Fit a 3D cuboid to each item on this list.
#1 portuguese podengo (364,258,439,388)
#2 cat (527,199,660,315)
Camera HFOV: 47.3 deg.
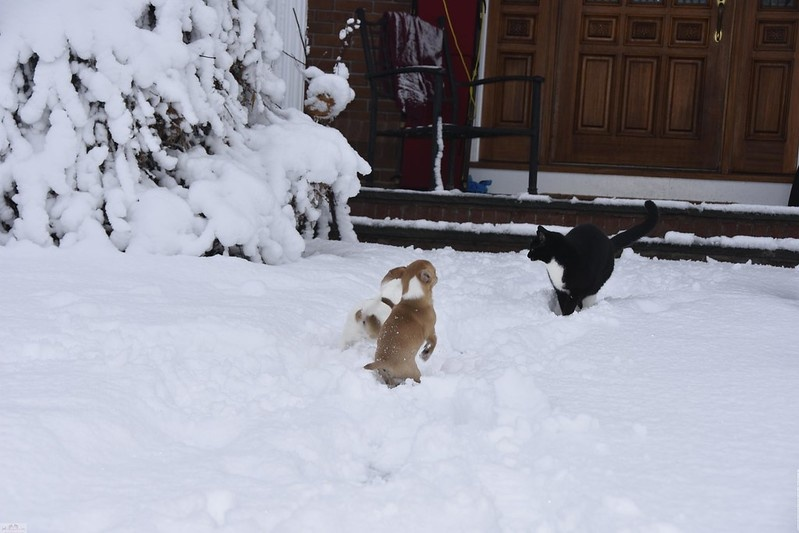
[{"bbox_3d":[0.016,0.300,4.679,0.242,0.605,0.442,8,14,25],"label":"portuguese podengo"},{"bbox_3d":[1.147,-0.047,5.584,1.039,0.719,0.322,-7,23,-34],"label":"cat"}]
